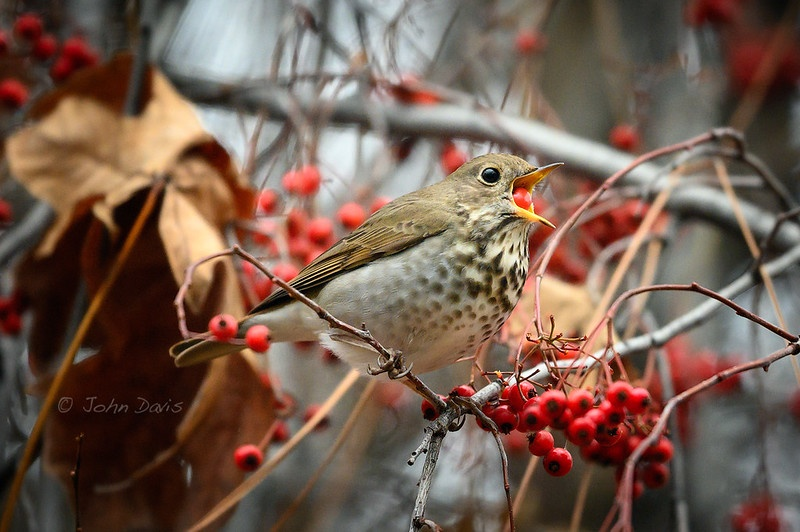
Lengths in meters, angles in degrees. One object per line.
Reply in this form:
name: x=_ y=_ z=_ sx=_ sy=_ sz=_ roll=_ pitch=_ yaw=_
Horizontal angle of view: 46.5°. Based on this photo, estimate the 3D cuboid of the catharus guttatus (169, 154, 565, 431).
catharus guttatus: x=0.182 y=-0.053 z=4.734 sx=1.167 sy=1.134 sz=0.340 roll=1 pitch=-22 yaw=19
